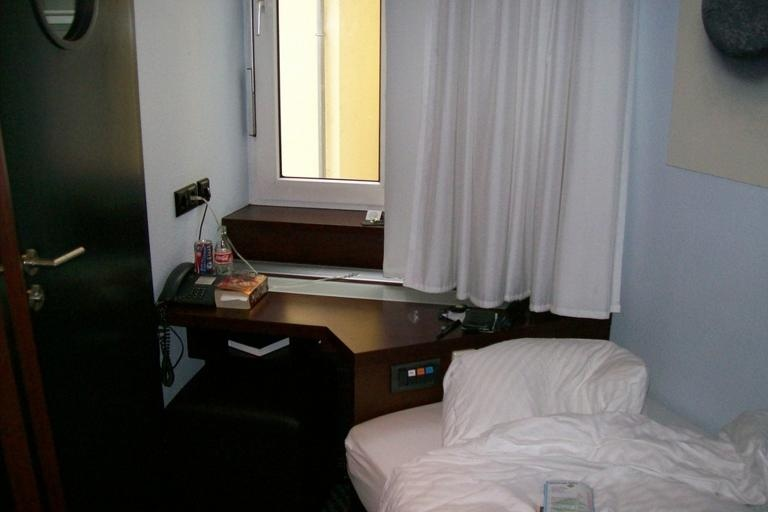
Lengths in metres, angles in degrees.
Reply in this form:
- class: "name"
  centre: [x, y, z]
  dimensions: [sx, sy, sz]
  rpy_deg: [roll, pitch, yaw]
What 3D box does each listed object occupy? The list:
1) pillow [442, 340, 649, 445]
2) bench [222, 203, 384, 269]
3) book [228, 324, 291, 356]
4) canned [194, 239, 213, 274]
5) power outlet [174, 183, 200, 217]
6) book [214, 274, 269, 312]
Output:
- class: "pillow"
  centre: [0.557, 0.483, 2.181]
  dimensions: [0.718, 0.278, 0.294]
  rpy_deg: [-2, 15, -7]
- class: "bench"
  centre: [-0.374, -0.099, 2.941]
  dimensions: [0.767, 0.241, 0.258]
  rpy_deg: [2, 15, 6]
- class: "book"
  centre: [-0.586, 0.403, 2.815]
  dimensions: [0.183, 0.043, 0.173]
  rpy_deg: [8, 13, 25]
- class: "canned"
  centre: [-0.793, 0.001, 2.684]
  dimensions: [0.082, 0.137, 0.082]
  rpy_deg: [2, 9, -18]
- class: "power outlet"
  centre: [-0.866, -0.247, 2.666]
  dimensions: [0.032, 0.135, 0.131]
  rpy_deg: [6, 16, 21]
- class: "book"
  centre: [-0.606, 0.131, 2.589]
  dimensions: [0.219, 0.079, 0.170]
  rpy_deg: [6, 27, 26]
